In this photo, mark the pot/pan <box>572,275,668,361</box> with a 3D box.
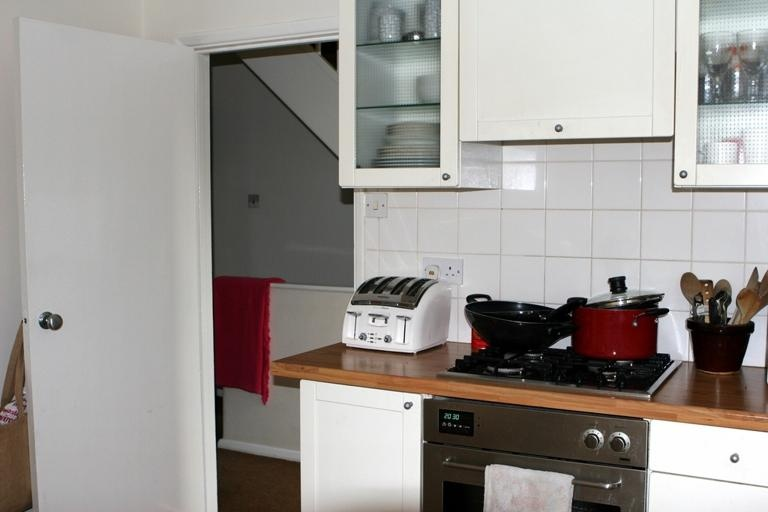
[{"bbox_3d":[0.986,0.289,2.749,0.300,0.306,0.544,1,0,15],"label":"pot/pan"}]

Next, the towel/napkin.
[{"bbox_3d":[-0.954,0.563,4.504,0.547,0.833,0.215,1,5,29],"label":"towel/napkin"}]

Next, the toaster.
[{"bbox_3d":[0.071,0.279,3.183,0.445,0.333,0.468,2,5,18],"label":"toaster"}]

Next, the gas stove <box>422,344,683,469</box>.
[{"bbox_3d":[0.777,0.623,2.837,0.959,0.372,0.738,-3,1,44],"label":"gas stove"}]

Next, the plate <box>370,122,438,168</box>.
[{"bbox_3d":[0.113,-0.505,2.908,0.214,0.108,0.223,1,3,8],"label":"plate"}]

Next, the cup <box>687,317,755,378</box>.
[{"bbox_3d":[1.388,0.371,2.697,0.228,0.186,0.231,2,-1,0],"label":"cup"}]
